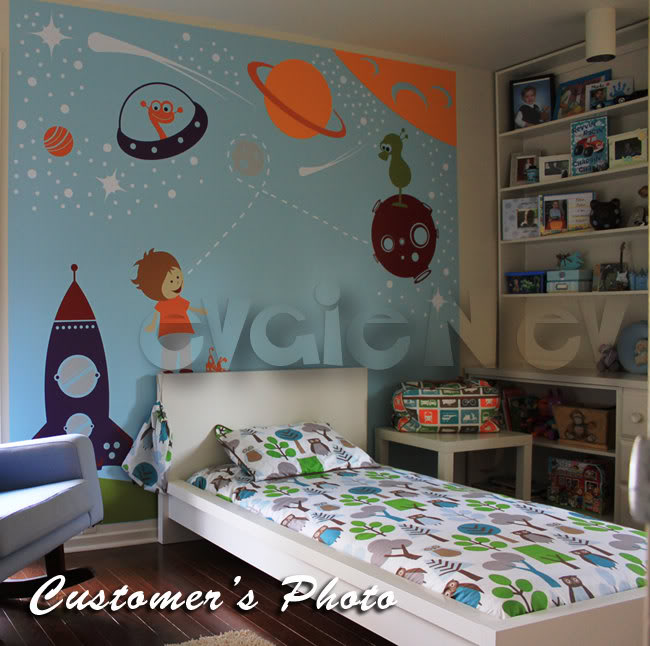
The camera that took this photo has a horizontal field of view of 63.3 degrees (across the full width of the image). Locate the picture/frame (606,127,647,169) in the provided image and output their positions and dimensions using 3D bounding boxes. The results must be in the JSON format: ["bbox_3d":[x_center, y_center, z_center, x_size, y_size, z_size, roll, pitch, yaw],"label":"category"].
[{"bbox_3d":[1.744,-1.001,3.045,0.208,0.234,0.137,-6,-5,26],"label":"picture/frame"}]

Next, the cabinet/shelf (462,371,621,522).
[{"bbox_3d":[1.290,0.687,3.082,0.301,0.797,0.862,0,0,-19],"label":"cabinet/shelf"}]

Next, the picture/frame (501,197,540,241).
[{"bbox_3d":[1.379,-0.727,3.712,0.116,0.310,0.321,-3,4,-44],"label":"picture/frame"}]

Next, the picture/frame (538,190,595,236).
[{"bbox_3d":[1.574,-0.706,3.428,0.332,0.286,0.047,5,8,45],"label":"picture/frame"}]

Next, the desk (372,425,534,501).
[{"bbox_3d":[0.782,0.689,3.249,0.624,0.641,0.615,-1,3,-16],"label":"desk"}]

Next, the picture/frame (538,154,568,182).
[{"bbox_3d":[1.490,-1.006,3.451,0.200,0.192,0.014,17,-4,18],"label":"picture/frame"}]

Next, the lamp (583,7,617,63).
[{"bbox_3d":[1.500,-1.580,2.884,0.146,0.276,0.076,-6,-5,23],"label":"lamp"}]
